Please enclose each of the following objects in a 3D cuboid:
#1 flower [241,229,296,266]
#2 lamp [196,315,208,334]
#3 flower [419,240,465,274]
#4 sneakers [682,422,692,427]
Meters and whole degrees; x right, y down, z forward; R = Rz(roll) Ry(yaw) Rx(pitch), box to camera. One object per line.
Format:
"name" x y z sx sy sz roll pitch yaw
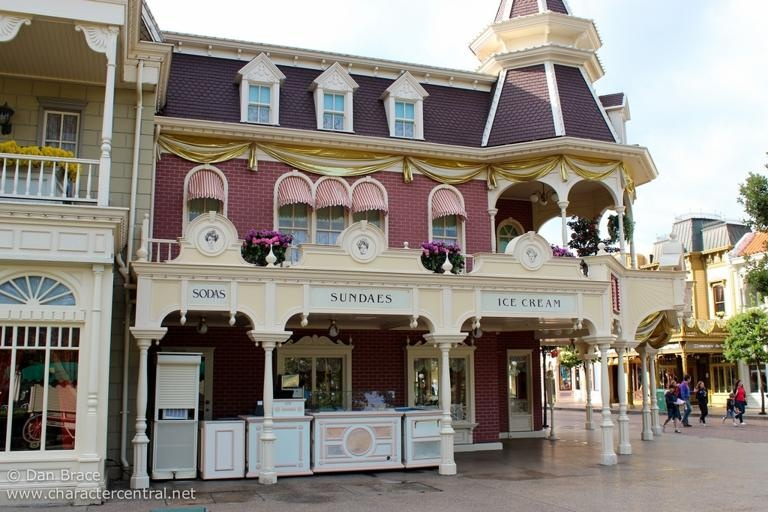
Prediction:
"flower" -3.101 -0.241 20.978 0.942 0.687 1.012 1 -4 7
"lamp" -5.044 1.906 22.275 0.427 0.584 0.424 3 -7 -13
"flower" 1.588 0.036 22.224 1.482 0.936 0.581 8 -14 -41
"sneakers" 12.451 6.939 33.049 0.596 0.248 0.189 5 -7 -38
